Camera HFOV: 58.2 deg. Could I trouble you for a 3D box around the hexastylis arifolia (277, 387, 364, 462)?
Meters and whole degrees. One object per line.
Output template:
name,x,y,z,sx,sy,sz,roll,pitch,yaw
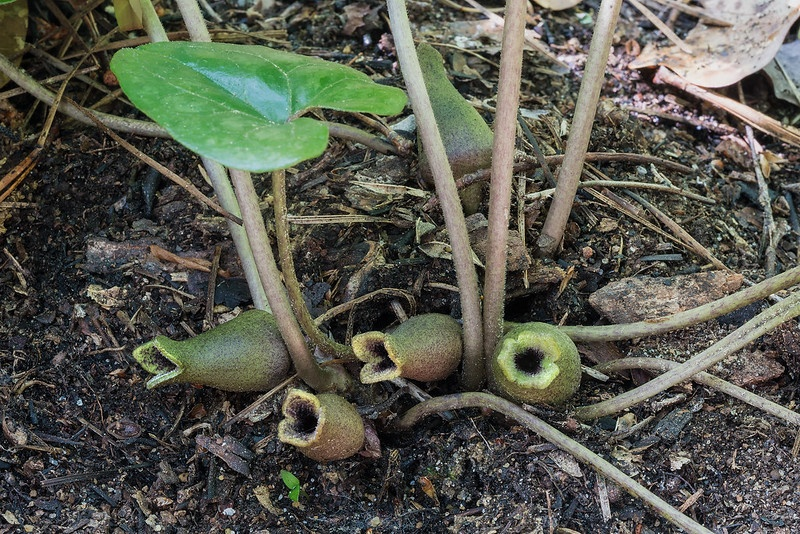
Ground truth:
hexastylis arifolia,-0.308,0.643,2.889,0.270,0.386,0.231,-3,67,12

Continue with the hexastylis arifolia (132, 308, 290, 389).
hexastylis arifolia,-0.744,0.343,2.945,0.578,0.258,0.284,-1,53,-35

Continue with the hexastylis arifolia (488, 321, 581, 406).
hexastylis arifolia,0.570,0.363,2.910,0.333,0.317,0.329,33,100,18
